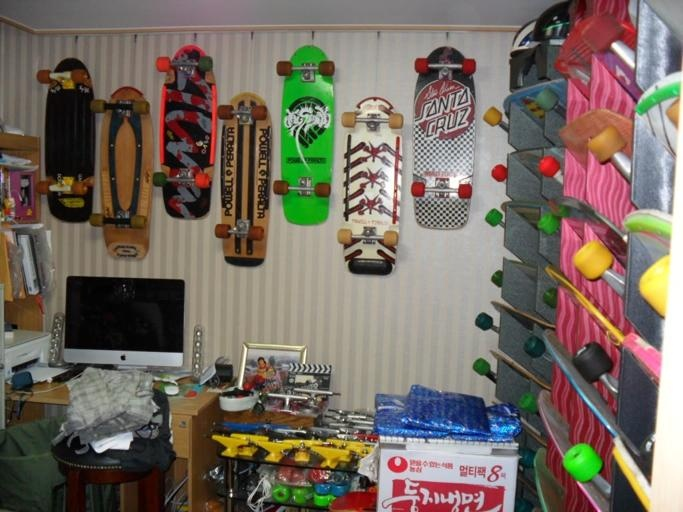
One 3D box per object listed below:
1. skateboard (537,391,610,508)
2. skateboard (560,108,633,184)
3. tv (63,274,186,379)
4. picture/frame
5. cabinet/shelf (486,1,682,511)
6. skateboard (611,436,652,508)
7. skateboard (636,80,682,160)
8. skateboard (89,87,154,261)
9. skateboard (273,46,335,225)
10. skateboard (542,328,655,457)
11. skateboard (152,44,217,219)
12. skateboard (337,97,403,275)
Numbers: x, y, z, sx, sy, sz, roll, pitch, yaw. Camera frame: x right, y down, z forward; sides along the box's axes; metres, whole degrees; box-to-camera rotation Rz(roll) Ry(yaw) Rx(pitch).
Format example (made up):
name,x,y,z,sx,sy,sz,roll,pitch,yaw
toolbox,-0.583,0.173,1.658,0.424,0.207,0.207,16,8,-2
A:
name,x,y,z,sx,sy,sz,roll,pitch,yaw
skateboard,0.941,0.824,2.799,0.063,0.492,0.120,-2,-20,-33
skateboard,0.983,-0.445,2.544,0.171,0.115,0.325,-19,23,10
tv,-1.439,0.404,4.558,0.780,0.621,0.573,2,-7,3
picture/frame,-0.470,0.783,4.535,0.467,0.510,0.036,0,31,-13
cabinet/shelf,1.061,-0.057,2.757,0.225,1.887,0.499,3,0,8
skateboard,0.930,0.688,2.142,0.051,0.191,0.132,3,-1,-22
skateboard,1.003,-0.420,2.107,0.053,0.228,0.161,-26,33,-29
skateboard,-1.478,-0.594,4.615,0.366,1.239,0.242,0,0,6
skateboard,-0.235,-0.800,4.391,0.392,1.179,0.344,2,-1,-1
skateboard,1.002,0.585,2.667,0.921,0.095,0.097,46,3,-29
skateboard,-1.042,-0.846,4.536,0.363,1.235,0.200,1,3,6
skateboard,0.197,-0.456,4.327,0.397,1.156,0.382,2,-1,5
